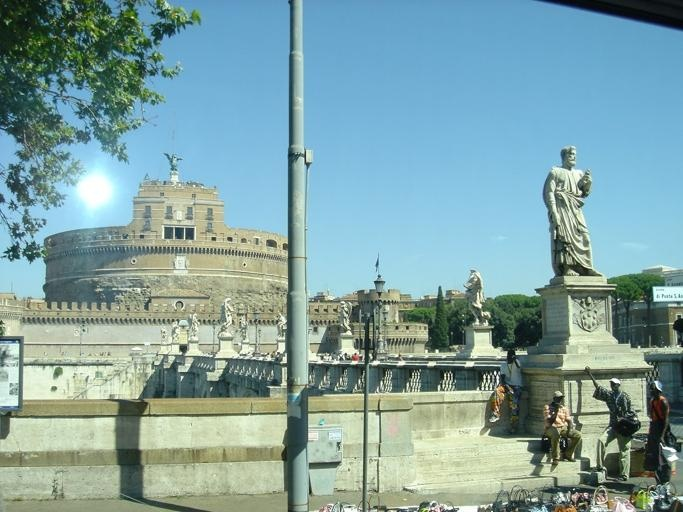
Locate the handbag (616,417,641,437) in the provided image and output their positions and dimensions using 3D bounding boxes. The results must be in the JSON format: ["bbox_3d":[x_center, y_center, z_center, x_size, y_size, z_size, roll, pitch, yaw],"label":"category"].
[{"bbox_3d":[6.619,3.954,30.660,0.519,0.464,0.370,-5,3,-4],"label":"handbag"}]

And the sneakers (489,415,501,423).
[{"bbox_3d":[3.801,4.011,32.695,0.276,0.142,0.124,-3,-3,8],"label":"sneakers"}]

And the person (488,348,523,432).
[{"bbox_3d":[4.074,3.295,32.771,0.825,1.981,0.652,-2,-12,6],"label":"person"}]

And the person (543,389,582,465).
[{"bbox_3d":[5.235,4.095,31.495,0.820,1.684,0.502,-2,-12,6],"label":"person"}]

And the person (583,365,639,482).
[{"bbox_3d":[6.399,3.895,31.187,1.091,2.738,1.249,-2,-12,6],"label":"person"}]

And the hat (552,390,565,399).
[{"bbox_3d":[5.188,3.293,31.519,0.200,0.095,0.131,0,6,-27],"label":"hat"}]

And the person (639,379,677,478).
[{"bbox_3d":[7.112,3.948,29.811,0.718,2.337,0.829,-5,-13,19],"label":"person"}]

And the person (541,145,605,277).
[{"bbox_3d":[5.689,-1.157,33.292,1.161,3.334,0.499,-2,-12,8],"label":"person"}]
